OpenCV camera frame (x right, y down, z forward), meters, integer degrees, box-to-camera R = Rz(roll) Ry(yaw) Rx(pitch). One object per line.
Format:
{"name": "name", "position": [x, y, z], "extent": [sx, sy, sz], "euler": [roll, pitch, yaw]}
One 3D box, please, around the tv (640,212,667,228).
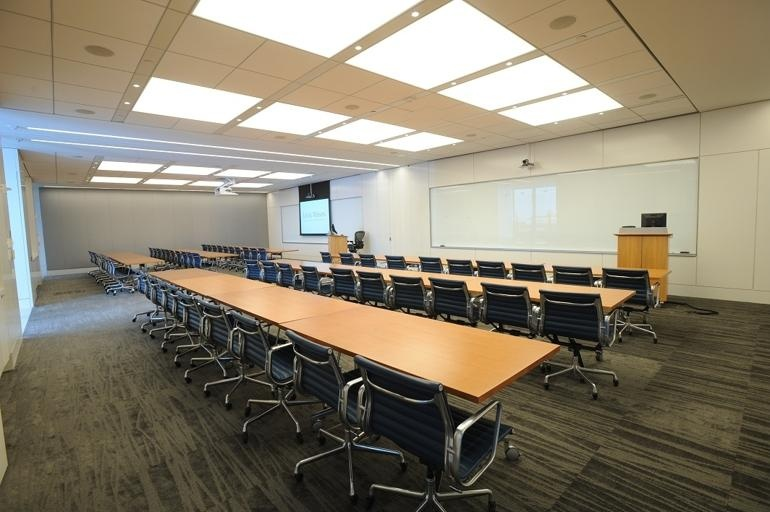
{"name": "tv", "position": [5.482, -0.715, 8.998], "extent": [0.425, 0.287, 0.442], "euler": [1, 5, 28]}

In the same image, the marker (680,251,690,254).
{"name": "marker", "position": [6.614, -0.064, 9.720], "extent": [0.164, 0.051, 0.052], "euler": [1, 5, 30]}

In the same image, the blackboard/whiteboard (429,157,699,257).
{"name": "blackboard/whiteboard", "position": [4.487, -1.112, 11.486], "extent": [5.975, 2.096, 0.873], "euler": [2, 6, 34]}
